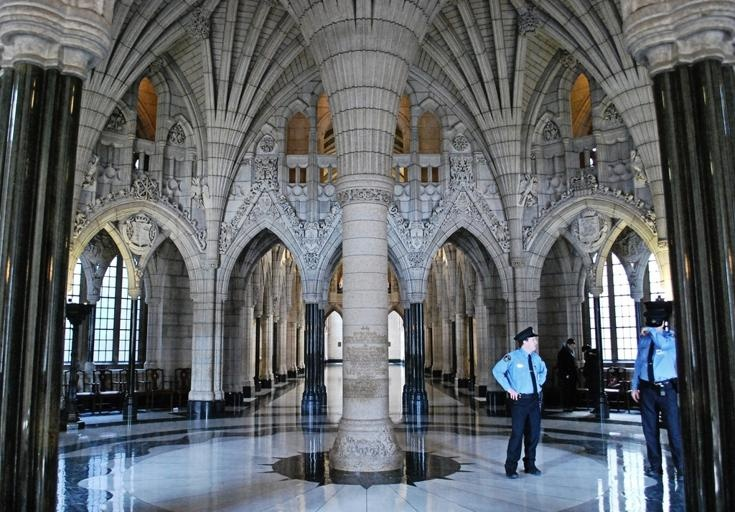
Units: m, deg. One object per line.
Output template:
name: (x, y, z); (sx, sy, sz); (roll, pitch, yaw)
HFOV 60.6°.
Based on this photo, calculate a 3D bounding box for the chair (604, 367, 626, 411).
chair: (8.349, 4.582, 21.468); (0.918, 1.441, 0.877); (6, -10, -30)

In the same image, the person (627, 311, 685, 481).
person: (4.957, 2.383, 10.889); (0.757, 2.835, 0.958); (-7, -11, 26)

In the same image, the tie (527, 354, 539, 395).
tie: (2.800, 2.060, 10.735); (0.155, 0.669, 0.057); (2, -10, -24)

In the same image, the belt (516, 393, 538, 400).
belt: (2.701, 2.418, 10.676); (0.405, 0.125, 0.087); (1, -10, -19)

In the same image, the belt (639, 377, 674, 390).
belt: (4.894, 2.225, 10.715); (0.545, 0.159, 0.215); (-8, -12, 28)

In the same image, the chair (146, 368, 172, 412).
chair: (-7.679, 5.000, 22.951); (0.904, 1.598, 0.898); (4, -15, -22)

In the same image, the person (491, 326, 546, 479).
person: (2.611, 2.533, 10.783); (0.941, 2.495, 0.610); (3, -11, -26)

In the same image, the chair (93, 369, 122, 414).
chair: (-9.335, 4.844, 22.493); (0.966, 1.528, 0.966); (7, -10, -39)

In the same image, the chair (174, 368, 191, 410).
chair: (-6.643, 4.821, 22.865); (0.852, 1.396, 0.801); (2, -10, -22)
